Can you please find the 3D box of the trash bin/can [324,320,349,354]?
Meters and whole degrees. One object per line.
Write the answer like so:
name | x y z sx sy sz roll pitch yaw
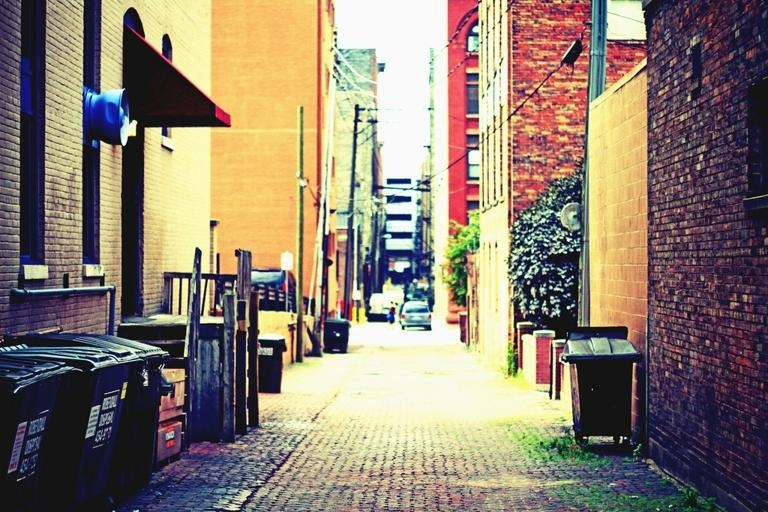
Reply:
trash bin/can | -2.053 3.741 34.722 1.137 1.595 1.525 0 -1 1

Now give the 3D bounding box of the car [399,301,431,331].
car | 2.271 4.136 53.200 1.897 1.981 2.456 -1 -2 15

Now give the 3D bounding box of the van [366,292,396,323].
van | -0.215 3.962 61.138 2.373 2.405 1.969 1 -4 -2

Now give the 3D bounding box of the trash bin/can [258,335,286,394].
trash bin/can | -2.857 2.782 19.704 0.640 1.513 0.661 0 -1 -10
